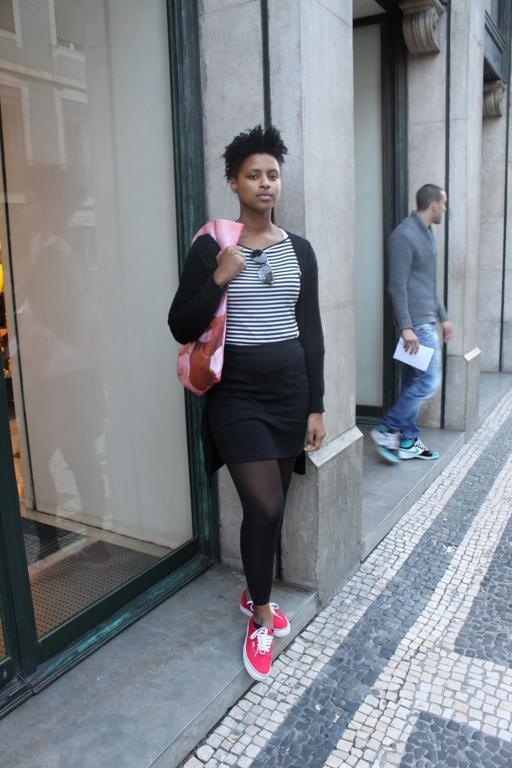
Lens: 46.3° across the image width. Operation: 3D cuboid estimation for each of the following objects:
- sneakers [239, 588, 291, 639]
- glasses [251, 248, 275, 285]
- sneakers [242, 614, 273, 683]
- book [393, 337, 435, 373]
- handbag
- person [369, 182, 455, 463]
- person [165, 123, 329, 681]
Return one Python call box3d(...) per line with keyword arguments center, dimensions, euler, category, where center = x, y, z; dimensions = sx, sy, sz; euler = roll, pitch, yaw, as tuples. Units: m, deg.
box3d(center=(0.035, 0.861, 2.243), dimensions=(0.087, 0.117, 0.262), euler=(0, -7, -20), category="sneakers")
box3d(center=(0.022, -0.379, 1.923), dimensions=(0.025, 0.095, 0.090), euler=(-9, -20, -10), category="glasses")
box3d(center=(0.007, 0.886, 1.991), dimensions=(0.066, 0.084, 0.213), euler=(11, 9, -5), category="sneakers")
box3d(center=(1.101, -0.209, 4.146), dimensions=(0.228, 0.188, 0.034), euler=(28, 15, 27), category="book")
box3d(center=(-0.157, -0.244, 1.952), dimensions=(0.188, 0.593, 0.266), euler=(4, 8, -1), category="handbag")
box3d(center=(1.185, -0.419, 4.300), dimensions=(0.392, 1.972, 0.706), euler=(10, 10, 40), category="person")
box3d(center=(-0.008, 0.051, 2.032), dimensions=(0.591, 1.789, 0.446), euler=(2, 8, -13), category="person")
